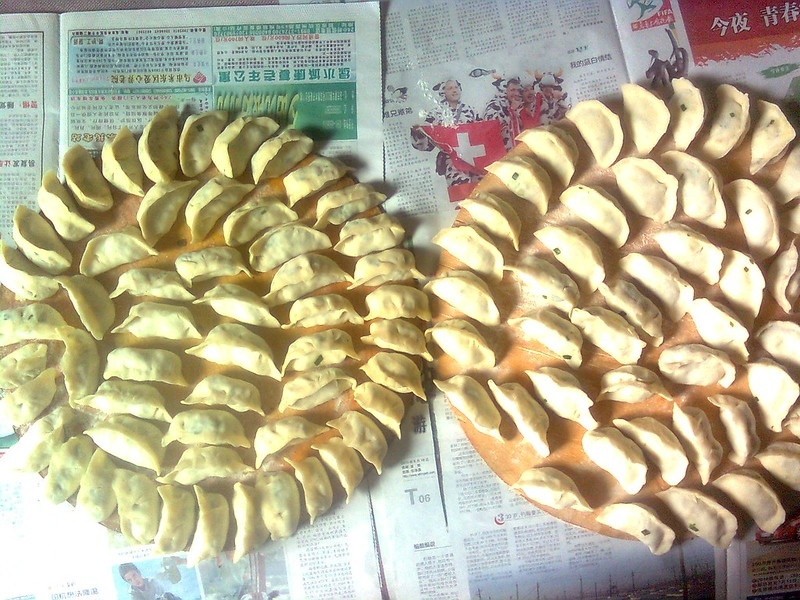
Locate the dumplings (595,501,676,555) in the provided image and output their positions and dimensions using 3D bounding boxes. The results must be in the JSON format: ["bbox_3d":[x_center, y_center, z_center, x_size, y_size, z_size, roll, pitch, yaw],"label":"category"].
[{"bbox_3d":[0.473,0.446,1.417,0.093,0.037,0.145,-26,22,-31],"label":"dumplings"}]

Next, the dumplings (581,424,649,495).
[{"bbox_3d":[0.416,0.311,1.432,0.094,0.135,0.033,-43,4,-8],"label":"dumplings"}]

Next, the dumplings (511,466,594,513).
[{"bbox_3d":[0.286,0.352,1.386,0.143,0.080,0.046,20,-10,7],"label":"dumplings"}]
